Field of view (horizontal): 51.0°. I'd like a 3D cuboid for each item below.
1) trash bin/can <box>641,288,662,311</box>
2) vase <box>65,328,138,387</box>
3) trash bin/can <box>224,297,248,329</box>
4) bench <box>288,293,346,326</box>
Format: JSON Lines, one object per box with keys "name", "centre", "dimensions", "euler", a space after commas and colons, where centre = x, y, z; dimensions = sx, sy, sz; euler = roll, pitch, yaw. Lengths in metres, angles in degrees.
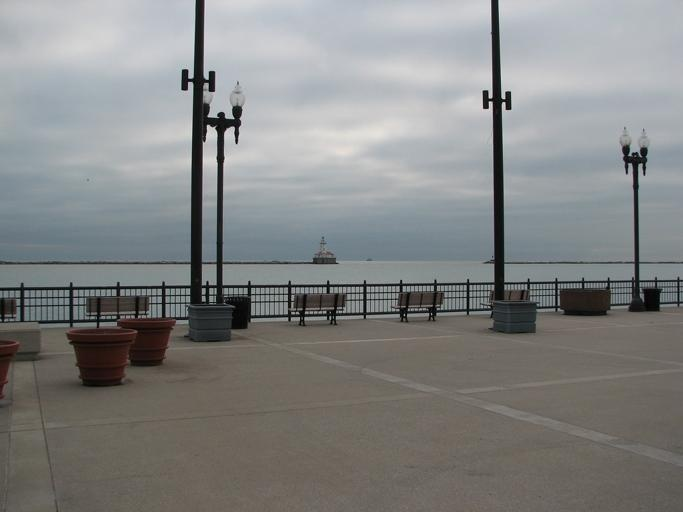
{"name": "trash bin/can", "centre": [11.474, 1.544, 26.248], "dimensions": [0.789, 0.892, 0.727], "euler": [0, 3, -3]}
{"name": "vase", "centre": [-3.781, 1.572, 11.376], "dimensions": [0.850, 0.732, 0.916], "euler": [4, -8, -15]}
{"name": "trash bin/can", "centre": [-2.849, 1.599, 20.251], "dimensions": [0.817, 1.008, 0.758], "euler": [4, -8, -40]}
{"name": "bench", "centre": [-0.687, 1.575, 22.123], "dimensions": [1.555, 0.972, 2.246], "euler": [0, 2, -8]}
